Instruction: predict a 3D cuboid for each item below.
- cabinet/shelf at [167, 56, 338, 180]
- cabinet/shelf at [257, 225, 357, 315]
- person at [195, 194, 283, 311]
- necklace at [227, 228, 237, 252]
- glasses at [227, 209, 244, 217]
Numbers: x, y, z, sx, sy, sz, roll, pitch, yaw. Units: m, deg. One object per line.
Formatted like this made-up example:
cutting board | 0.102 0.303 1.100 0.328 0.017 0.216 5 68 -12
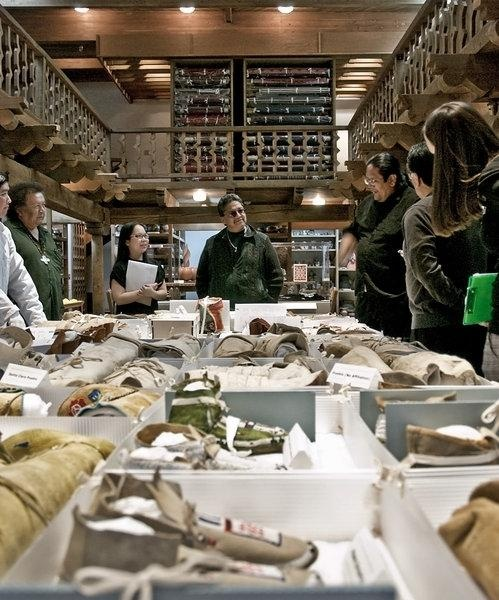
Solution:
cabinet/shelf | 0.059 -3.090 8.161 2.715 2.253 0.893 1 -11 -3
cabinet/shelf | 0.832 -0.469 6.779 1.828 1.628 0.634 0 -2 -5
person | -0.116 -0.401 3.834 0.735 0.895 0.523 0 3 5
necklace | -0.141 -0.468 3.761 0.091 0.154 0.032 -3 -14 -10
glasses | -0.089 -0.673 3.700 0.063 0.063 0.176 1 3 32
